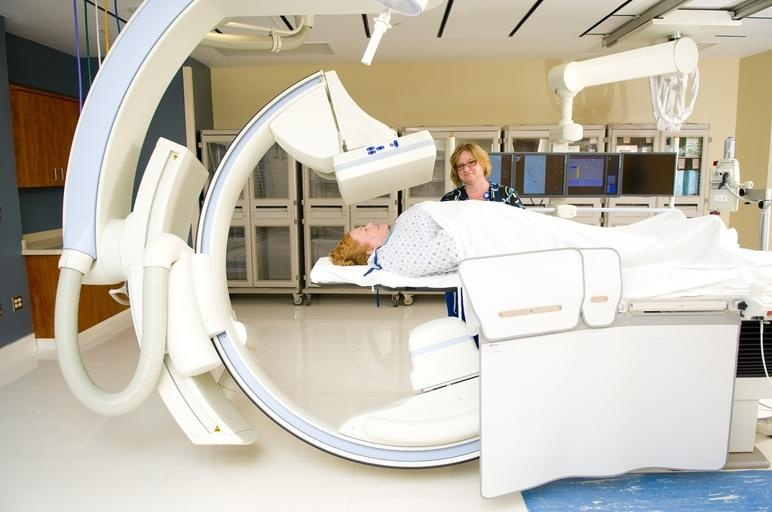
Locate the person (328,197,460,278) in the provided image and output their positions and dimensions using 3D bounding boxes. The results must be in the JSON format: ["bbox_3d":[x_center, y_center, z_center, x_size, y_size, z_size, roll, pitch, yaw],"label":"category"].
[{"bbox_3d":[0.049,-0.103,3.480,0.401,0.403,0.775,-11,16,-38],"label":"person"}]

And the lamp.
[{"bbox_3d":[1.950,-1.226,4.482,1.365,0.741,0.814,-10,16,-36],"label":"lamp"}]
